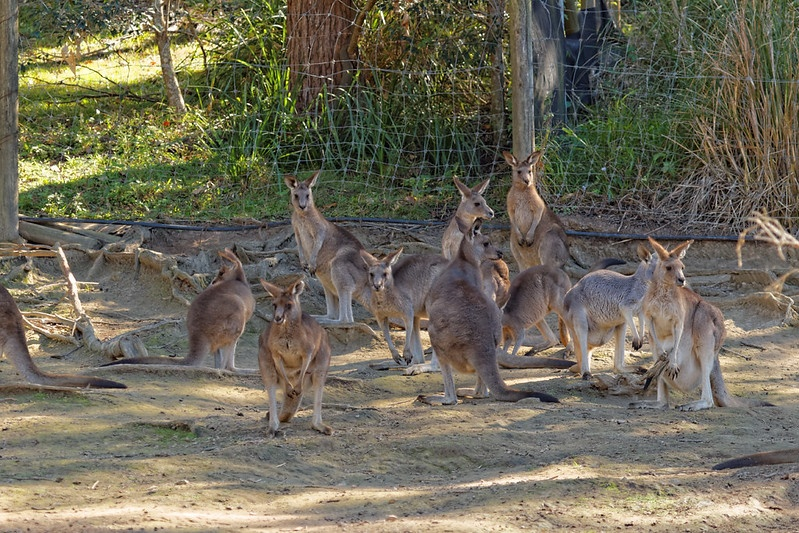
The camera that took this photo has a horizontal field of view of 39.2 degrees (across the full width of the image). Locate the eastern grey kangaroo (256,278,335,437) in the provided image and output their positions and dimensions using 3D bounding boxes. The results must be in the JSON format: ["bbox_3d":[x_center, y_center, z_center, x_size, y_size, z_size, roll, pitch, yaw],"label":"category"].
[{"bbox_3d":[-0.924,0.815,9.686,0.618,1.286,0.549,-6,8,-6],"label":"eastern grey kangaroo"}]

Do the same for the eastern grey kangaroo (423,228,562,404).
[{"bbox_3d":[0.651,0.495,10.614,1.020,1.529,1.235,-7,8,-12],"label":"eastern grey kangaroo"}]

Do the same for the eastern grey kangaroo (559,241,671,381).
[{"bbox_3d":[2.176,0.445,11.041,0.595,1.272,1.483,7,-10,-32],"label":"eastern grey kangaroo"}]

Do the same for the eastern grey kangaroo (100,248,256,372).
[{"bbox_3d":[-1.936,0.536,10.913,0.635,1.103,1.422,2,11,42],"label":"eastern grey kangaroo"}]
